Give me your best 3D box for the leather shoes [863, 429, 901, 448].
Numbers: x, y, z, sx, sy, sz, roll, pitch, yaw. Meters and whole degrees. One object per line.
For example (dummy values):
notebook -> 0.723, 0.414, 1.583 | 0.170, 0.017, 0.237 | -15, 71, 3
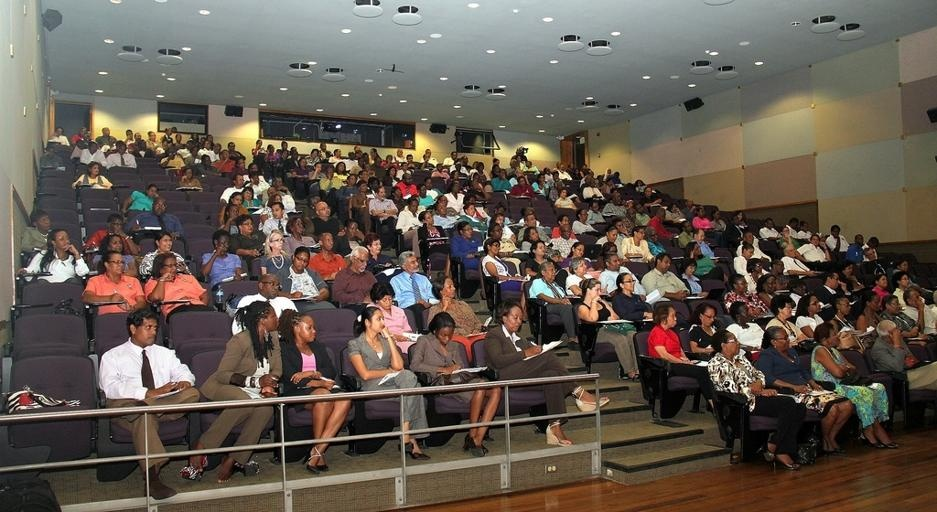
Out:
leather shoes -> 5.748, 2.575, 9.641 | 0.202, 0.222, 0.562 | 4, -8, -25

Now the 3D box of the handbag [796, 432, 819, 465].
handbag -> 4.529, 2.594, 9.150 | 0.269, 0.373, 0.421 | -1, -3, 26

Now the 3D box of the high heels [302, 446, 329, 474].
high heels -> -1.830, 2.461, 8.193 | 0.161, 0.180, 0.453 | 6, -11, -31

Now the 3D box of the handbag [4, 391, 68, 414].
handbag -> -5.076, 1.689, 7.966 | 0.519, 0.163, 0.292 | -1, 2, -15

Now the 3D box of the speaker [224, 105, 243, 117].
speaker -> -6.638, -4.118, 19.279 | 0.572, 0.340, 0.273 | -1, 6, -19

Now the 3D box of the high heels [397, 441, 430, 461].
high heels -> -0.686, 2.424, 8.483 | 0.405, 0.154, 0.135 | -1, -7, 28

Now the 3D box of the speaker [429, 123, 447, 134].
speaker -> -0.981, -4.019, 21.413 | 0.493, 0.156, 0.250 | 0, 1, -12

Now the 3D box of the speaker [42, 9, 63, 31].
speaker -> -8.319, -4.721, 13.640 | 0.340, 0.448, 0.682 | -1, 0, -29

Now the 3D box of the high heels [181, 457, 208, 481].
high heels -> -3.277, 2.570, 8.172 | 0.208, 0.318, 0.110 | 9, -3, 24

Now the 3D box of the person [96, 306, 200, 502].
person -> -3.827, 1.707, 8.216 | 1.150, 2.438, 0.887 | -1, 0, 36

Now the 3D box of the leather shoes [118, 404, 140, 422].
leather shoes -> -3.980, 1.882, 8.061 | 0.213, 0.263, 0.102 | 16, 0, 20

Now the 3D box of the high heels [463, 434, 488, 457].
high heels -> 0.087, 2.394, 8.562 | 0.145, 0.170, 0.445 | 14, -13, -30
